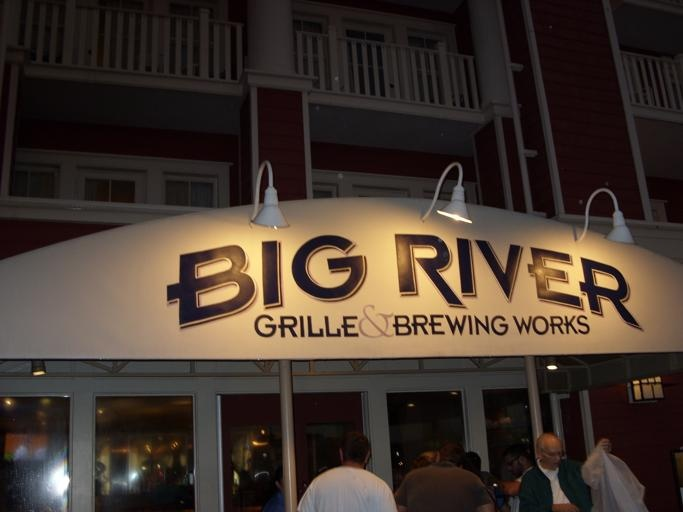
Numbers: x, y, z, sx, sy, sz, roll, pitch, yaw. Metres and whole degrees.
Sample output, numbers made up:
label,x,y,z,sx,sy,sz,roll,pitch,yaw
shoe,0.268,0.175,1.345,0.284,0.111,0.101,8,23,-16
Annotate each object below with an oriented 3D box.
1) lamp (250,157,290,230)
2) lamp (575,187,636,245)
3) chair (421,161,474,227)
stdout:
label,x,y,z,sx,sy,sz,roll,pitch,yaw
lamp,-0.646,-0.588,5.567,0.304,0.876,0.784,0,-19,-9
lamp,2.617,-0.400,6.218,0.549,0.565,0.296,3,13,25
chair,0.979,-0.567,5.642,0.291,0.590,0.520,7,5,-39
